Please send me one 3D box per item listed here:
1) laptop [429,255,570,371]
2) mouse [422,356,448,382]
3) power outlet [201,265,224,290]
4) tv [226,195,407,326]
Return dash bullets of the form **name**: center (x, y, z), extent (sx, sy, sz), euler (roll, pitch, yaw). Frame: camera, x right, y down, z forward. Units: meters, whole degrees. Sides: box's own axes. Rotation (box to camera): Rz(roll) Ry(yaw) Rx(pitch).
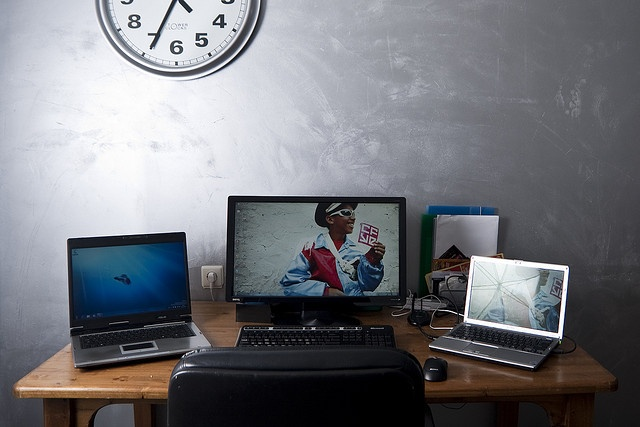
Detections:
- **laptop**: center (0.807, 0.404, 2.352), extent (0.474, 0.321, 0.479), euler (5, 15, 36)
- **mouse**: center (0.437, 0.589, 2.108), extent (0.097, 0.055, 0.171), euler (1, 13, 12)
- **power outlet**: center (-0.521, 0.309, 2.718), extent (0.117, 0.117, 0.039), euler (1, -1, -1)
- **tv**: center (-0.021, 0.191, 2.502), extent (0.568, 0.414, 0.184), euler (0, -3, 1)
